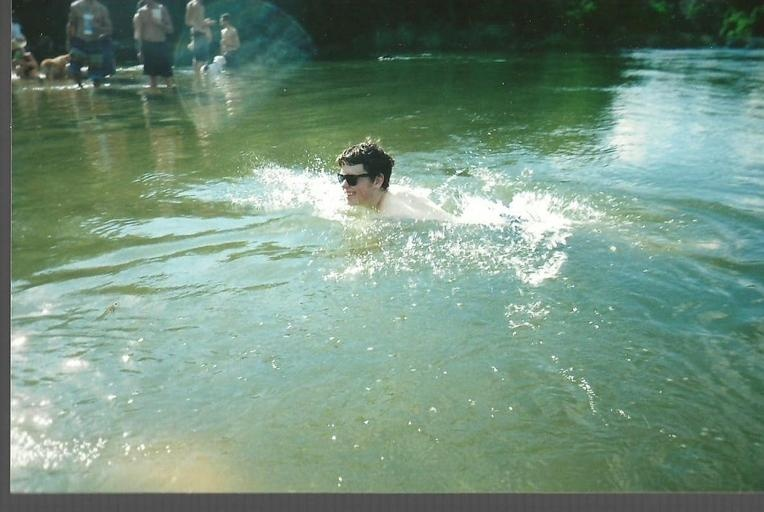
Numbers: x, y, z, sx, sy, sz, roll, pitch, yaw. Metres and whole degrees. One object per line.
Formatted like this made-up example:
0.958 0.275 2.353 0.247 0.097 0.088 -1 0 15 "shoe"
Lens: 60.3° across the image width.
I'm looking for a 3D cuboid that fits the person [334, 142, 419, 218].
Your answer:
-0.025 -0.761 7.255 0.916 0.920 0.706 -8 10 -31 "person"
